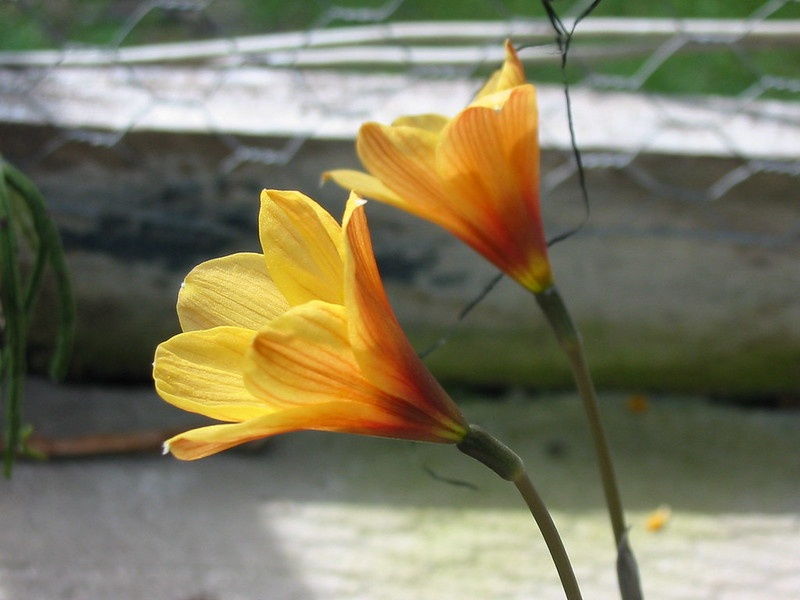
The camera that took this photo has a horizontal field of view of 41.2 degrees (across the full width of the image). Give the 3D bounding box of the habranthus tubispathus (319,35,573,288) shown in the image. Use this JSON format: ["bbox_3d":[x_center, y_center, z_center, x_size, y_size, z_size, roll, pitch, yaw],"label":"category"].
[{"bbox_3d":[0.096,-0.093,1.027,0.237,0.239,0.191,-1,66,-40],"label":"habranthus tubispathus"}]

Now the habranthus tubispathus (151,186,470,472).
[{"bbox_3d":[-0.086,0.012,0.954,0.279,0.125,0.228,-4,67,-1],"label":"habranthus tubispathus"}]
